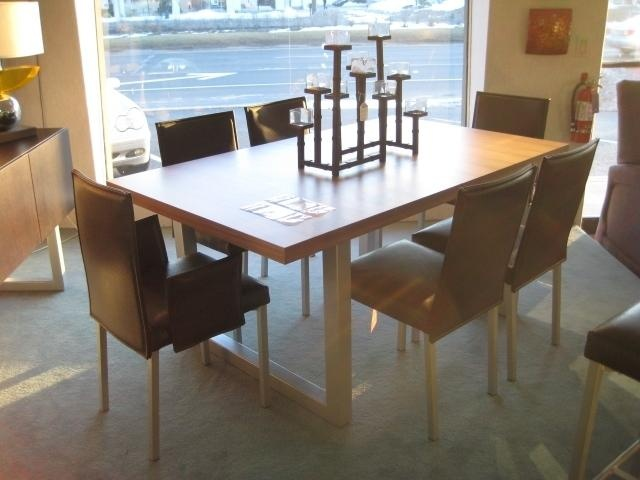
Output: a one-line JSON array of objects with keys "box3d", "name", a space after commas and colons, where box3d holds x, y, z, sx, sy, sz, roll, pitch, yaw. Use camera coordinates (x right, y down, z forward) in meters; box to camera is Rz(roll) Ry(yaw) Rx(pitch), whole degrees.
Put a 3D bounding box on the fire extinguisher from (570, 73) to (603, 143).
[{"box3d": [2.090, -1.026, 4.243, 0.203, 0.563, 0.074, 14, 43, 36], "name": "fire extinguisher"}]
